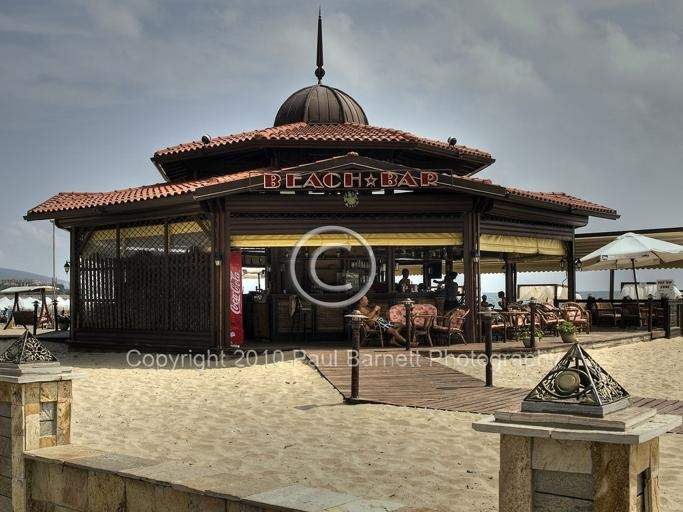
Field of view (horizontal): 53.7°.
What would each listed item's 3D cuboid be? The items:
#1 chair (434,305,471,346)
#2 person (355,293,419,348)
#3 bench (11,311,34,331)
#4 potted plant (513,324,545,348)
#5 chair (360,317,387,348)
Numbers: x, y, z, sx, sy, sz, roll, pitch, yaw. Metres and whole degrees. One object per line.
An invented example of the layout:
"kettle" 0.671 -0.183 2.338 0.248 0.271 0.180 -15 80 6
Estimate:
"chair" 2.547 1.579 15.956 0.846 0.727 0.648 -2 4 -36
"person" 0.948 1.522 15.953 1.072 1.216 2.166 -2 2 4
"bench" -14.330 2.802 30.347 0.620 0.747 1.874 -4 2 -33
"potted plant" 4.415 1.864 15.886 0.578 0.398 0.572 7 -9 -41
"chair" 0.716 1.829 16.392 0.697 0.916 0.673 -2 -2 6
